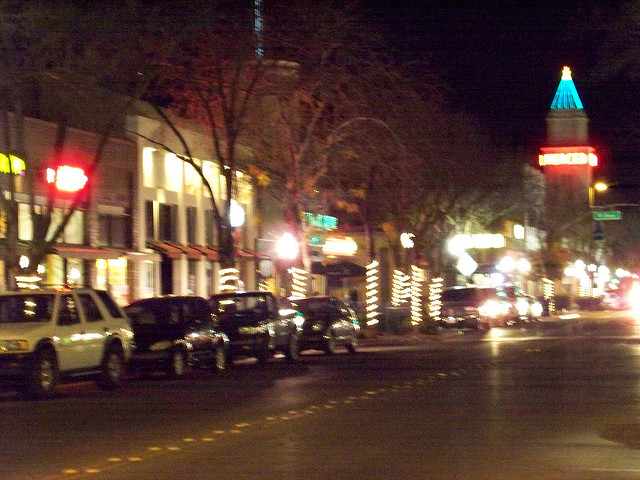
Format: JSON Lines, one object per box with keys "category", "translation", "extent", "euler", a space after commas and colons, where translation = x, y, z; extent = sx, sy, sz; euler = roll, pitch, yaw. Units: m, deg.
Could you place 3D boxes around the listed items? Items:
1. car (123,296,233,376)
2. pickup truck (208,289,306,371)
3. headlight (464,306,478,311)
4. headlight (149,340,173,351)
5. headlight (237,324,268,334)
{"category": "car", "translation": [-3.632, 2.357, 20.604], "extent": [1.634, 1.244, 2.545], "euler": [-4, -11, 25]}
{"category": "pickup truck", "translation": [-1.778, 2.571, 24.262], "extent": [1.727, 1.342, 3.068], "euler": [-2, -9, 16]}
{"category": "headlight", "translation": [7.436, 3.365, 40.397], "extent": [0.645, 0.232, 0.129], "euler": [-3, -8, 5]}
{"category": "headlight", "translation": [-3.775, 2.476, 19.475], "extent": [0.524, 0.220, 0.134], "euler": [0, -8, -13]}
{"category": "headlight", "translation": [-1.904, 2.505, 23.064], "extent": [0.813, 0.261, 0.109], "euler": [-1, -8, -9]}
